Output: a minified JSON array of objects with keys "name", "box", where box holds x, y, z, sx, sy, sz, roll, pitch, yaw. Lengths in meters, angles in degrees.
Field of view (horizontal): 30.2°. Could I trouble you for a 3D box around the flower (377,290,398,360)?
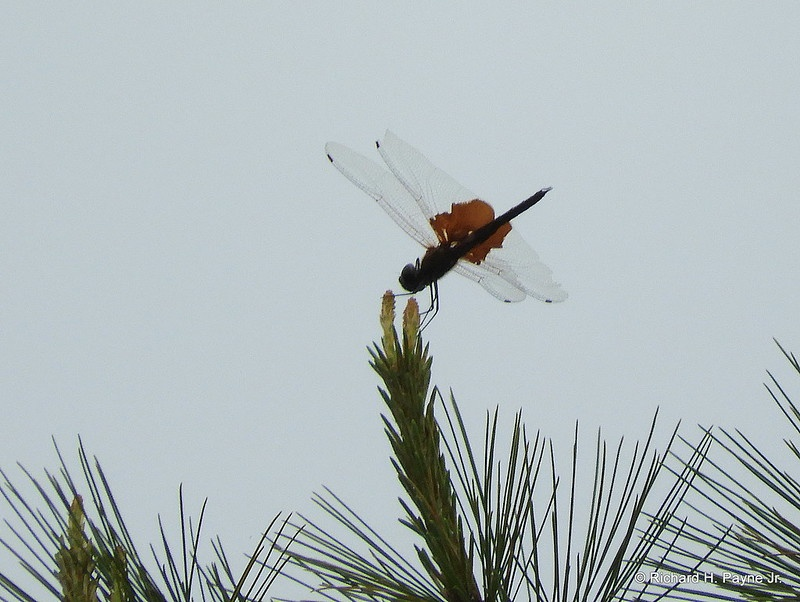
[{"name":"flower","box":[-0.031,0.069,4.198,0.059,0.088,0.291,0,-88,4]}]
